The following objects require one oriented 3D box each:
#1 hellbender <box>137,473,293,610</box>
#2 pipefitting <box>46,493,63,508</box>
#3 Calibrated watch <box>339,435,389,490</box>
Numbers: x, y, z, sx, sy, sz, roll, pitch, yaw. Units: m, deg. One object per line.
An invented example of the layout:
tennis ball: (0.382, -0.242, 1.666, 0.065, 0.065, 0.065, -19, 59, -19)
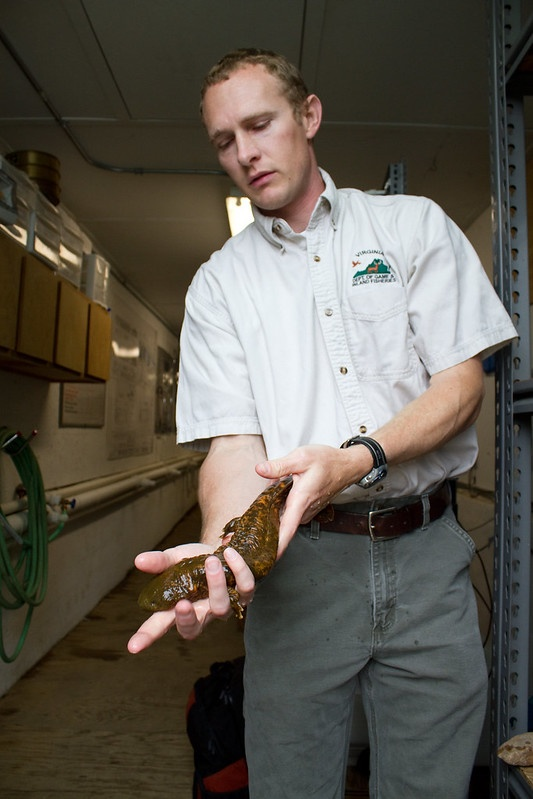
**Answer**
hellbender: (-0.053, 0.237, 0.946, 0.118, 0.059, 0.327, 14, 28, 22)
pipefitting: (-1.227, 0.614, 3.474, 0.045, 0.066, 0.179, 0, -5, -25)
Calibrated watch: (0.179, 0.122, 1.098, 0.080, 0.098, 0.075, 0, -2, 6)
